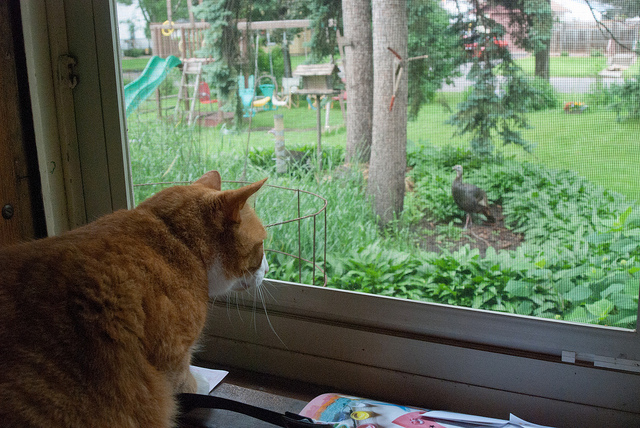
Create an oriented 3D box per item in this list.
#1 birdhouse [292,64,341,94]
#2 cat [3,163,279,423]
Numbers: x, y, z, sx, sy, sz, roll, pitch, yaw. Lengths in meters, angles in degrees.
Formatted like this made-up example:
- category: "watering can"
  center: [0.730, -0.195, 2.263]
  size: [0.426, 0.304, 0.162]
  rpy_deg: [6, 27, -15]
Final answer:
- category: "birdhouse"
  center: [-0.009, -0.477, 2.047]
  size: [0.160, 0.108, 0.065]
  rpy_deg: [-3, 20, -1]
- category: "cat"
  center: [-0.429, 0.202, 1.387]
  size: [0.336, 0.509, 0.667]
  rpy_deg: [17, 28, 41]
